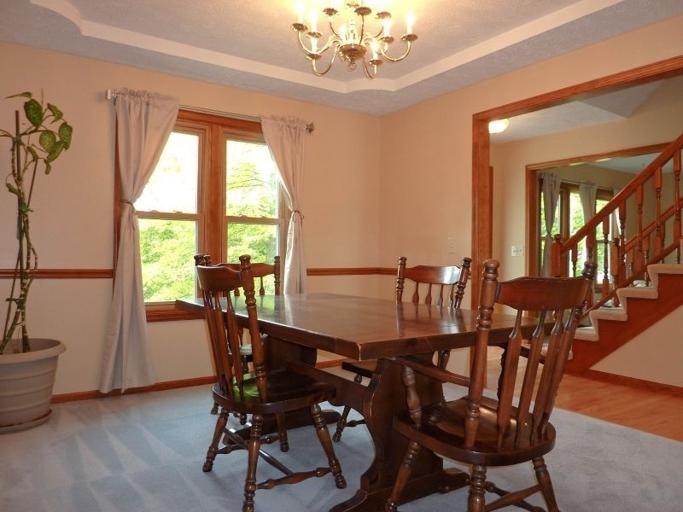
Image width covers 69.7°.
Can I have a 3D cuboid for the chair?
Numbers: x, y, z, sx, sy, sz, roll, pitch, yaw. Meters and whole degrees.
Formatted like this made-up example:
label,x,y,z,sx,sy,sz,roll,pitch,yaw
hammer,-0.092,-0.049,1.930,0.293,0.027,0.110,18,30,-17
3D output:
label,x,y,z,sx,sy,sz,roll,pitch,yaw
chair,0.138,0.714,2.833,1.031,1.223,2.184,0,-1,-37
